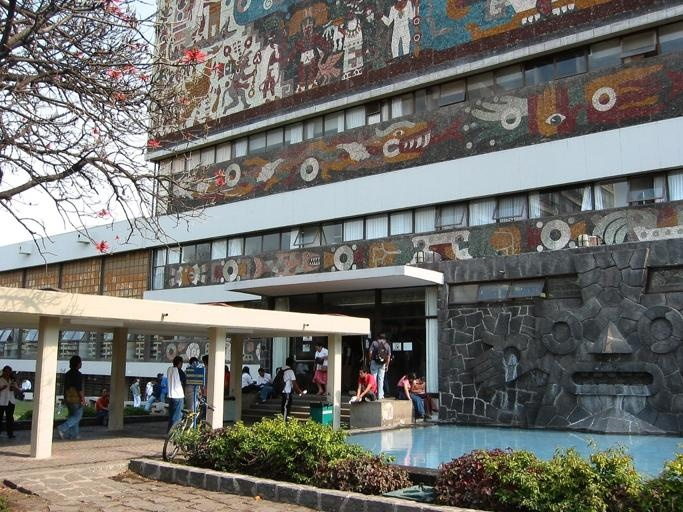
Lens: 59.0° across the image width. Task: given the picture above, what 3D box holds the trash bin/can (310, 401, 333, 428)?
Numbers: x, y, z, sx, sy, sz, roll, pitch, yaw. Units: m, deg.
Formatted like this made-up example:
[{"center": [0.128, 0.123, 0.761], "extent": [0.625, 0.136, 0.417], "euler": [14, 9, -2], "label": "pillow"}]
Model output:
[{"center": [-0.612, 4.946, 18.804], "extent": [0.707, 0.702, 0.777], "euler": [2, -12, -8], "label": "trash bin/can"}]

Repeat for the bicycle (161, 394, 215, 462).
[{"center": [-3.601, 4.037, 14.265], "extent": [0.822, 1.233, 1.898], "euler": [9, -5, 16], "label": "bicycle"}]

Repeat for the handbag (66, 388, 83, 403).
[{"center": [-7.140, 3.720, 16.120], "extent": [0.372, 0.407, 0.230], "euler": [2, -7, -18], "label": "handbag"}]

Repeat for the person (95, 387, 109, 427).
[{"center": [-8.394, 5.321, 21.206], "extent": [0.383, 1.218, 0.793], "euler": [5, -12, -22], "label": "person"}]
